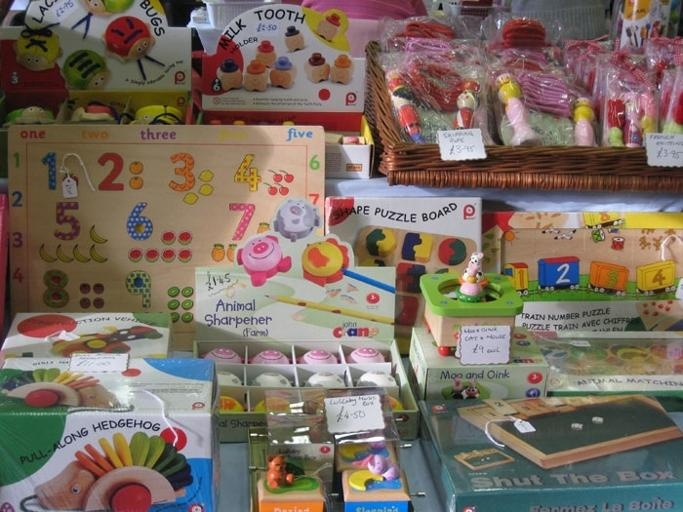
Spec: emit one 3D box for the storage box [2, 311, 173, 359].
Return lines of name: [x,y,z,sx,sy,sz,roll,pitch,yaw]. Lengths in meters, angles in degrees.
storage box: [-0.647,0.201,1.352,0.451,0.079,0.195,-2,8,1]

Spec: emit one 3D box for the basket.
basket: [0.574,-0.441,1.671,0.995,0.520,0.356,-1,8,5]
